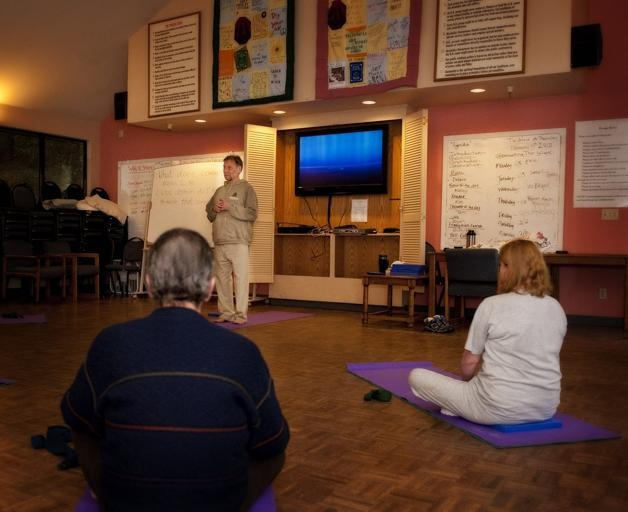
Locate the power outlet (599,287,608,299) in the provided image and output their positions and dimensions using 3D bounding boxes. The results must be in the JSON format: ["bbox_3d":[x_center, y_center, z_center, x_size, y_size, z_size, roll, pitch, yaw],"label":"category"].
[{"bbox_3d":[3.470,0.449,6.091,0.079,0.121,0.037,2,4,20],"label":"power outlet"}]

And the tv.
[{"bbox_3d":[0.463,-1.422,7.459,1.017,0.741,0.110,0,-2,26],"label":"tv"}]

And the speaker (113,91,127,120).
[{"bbox_3d":[-3.650,-2.830,9.540,0.393,0.491,0.145,2,3,33],"label":"speaker"}]

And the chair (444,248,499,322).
[{"bbox_3d":[1.710,0.385,5.759,0.544,0.602,0.552,24,-3,-22],"label":"chair"}]

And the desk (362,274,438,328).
[{"bbox_3d":[1.001,0.463,6.199,0.684,0.601,0.679,1,-3,-25],"label":"desk"}]

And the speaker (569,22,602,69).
[{"bbox_3d":[2.845,-2.199,5.331,0.280,0.430,0.108,1,2,16],"label":"speaker"}]
